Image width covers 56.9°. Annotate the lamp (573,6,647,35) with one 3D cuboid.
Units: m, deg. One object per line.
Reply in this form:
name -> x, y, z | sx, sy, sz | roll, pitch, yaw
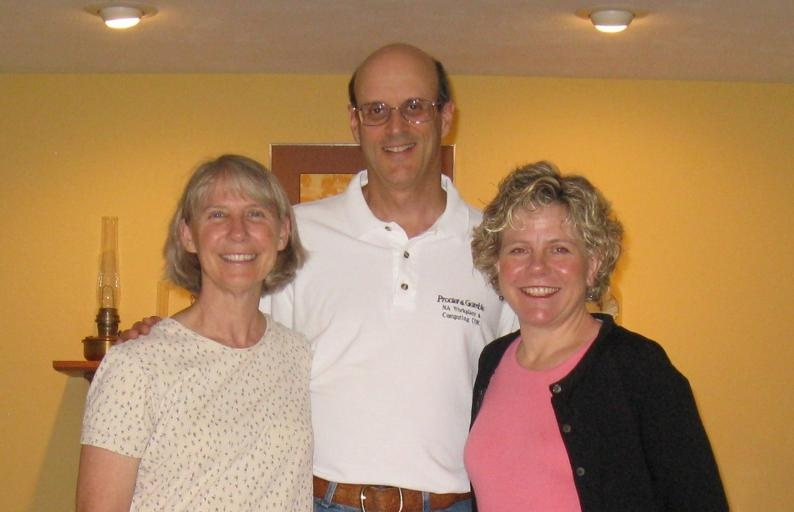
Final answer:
lamp -> 1.374, -1.540, 4.813 | 0.477, 0.107, 0.336 | 2, 2, -18
